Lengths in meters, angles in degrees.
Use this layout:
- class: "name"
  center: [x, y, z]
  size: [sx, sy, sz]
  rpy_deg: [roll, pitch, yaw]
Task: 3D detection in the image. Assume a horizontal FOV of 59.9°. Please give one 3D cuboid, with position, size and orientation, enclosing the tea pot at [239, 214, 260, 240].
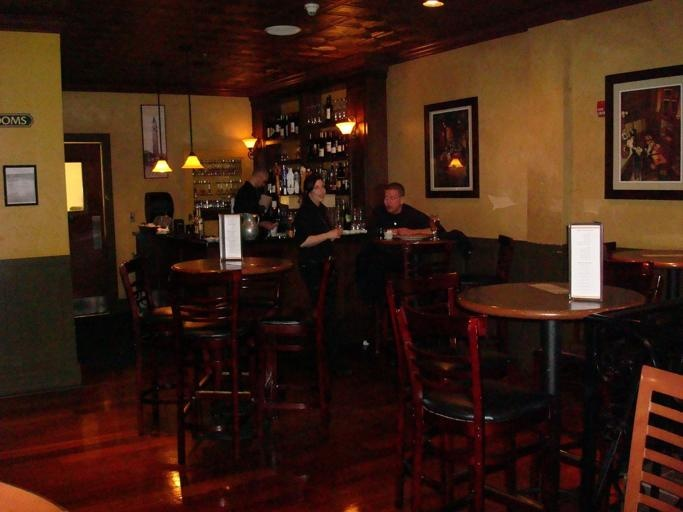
- class: "tea pot"
  center: [-0.877, -0.270, 5.651]
  size: [0.247, 0.299, 0.208]
  rpy_deg: [0, -1, -10]

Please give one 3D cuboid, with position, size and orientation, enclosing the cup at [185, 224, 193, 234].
- class: "cup"
  center: [-2.039, -0.352, 7.925]
  size: [0.144, 0.148, 0.268]
  rpy_deg: [1, 4, -12]

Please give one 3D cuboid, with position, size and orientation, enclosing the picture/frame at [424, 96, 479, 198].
- class: "picture/frame"
  center: [1.304, -1.267, 7.031]
  size: [0.103, 1.130, 0.816]
  rpy_deg: [-7, 10, -36]

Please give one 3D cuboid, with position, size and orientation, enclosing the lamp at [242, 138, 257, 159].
- class: "lamp"
  center: [-1.489, -1.781, 9.805]
  size: [0.268, 0.310, 0.269]
  rpy_deg: [0, 2, 1]

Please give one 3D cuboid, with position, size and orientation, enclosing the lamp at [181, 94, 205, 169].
- class: "lamp"
  center: [-2.241, -1.889, 8.859]
  size: [0.305, 1.229, 1.754]
  rpy_deg: [-3, 8, -13]

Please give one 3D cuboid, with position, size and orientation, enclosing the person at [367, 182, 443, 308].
- class: "person"
  center: [0.616, -0.092, 6.675]
  size: [0.836, 1.359, 0.812]
  rpy_deg: [-14, 13, -32]
